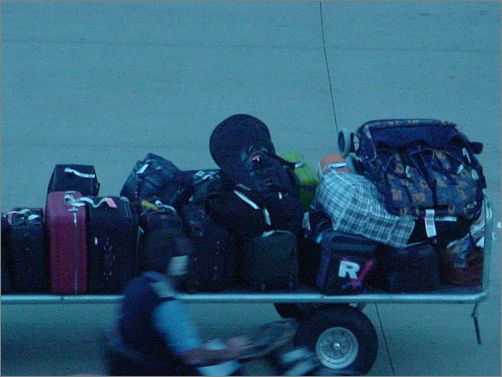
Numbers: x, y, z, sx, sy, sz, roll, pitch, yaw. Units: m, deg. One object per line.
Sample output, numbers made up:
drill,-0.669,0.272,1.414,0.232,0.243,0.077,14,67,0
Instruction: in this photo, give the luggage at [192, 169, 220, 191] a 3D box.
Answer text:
luggage,-0.405,-0.071,7.605,0.231,0.069,0.216,3,33,19

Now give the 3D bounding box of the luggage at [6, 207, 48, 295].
luggage,-1.833,0.512,6.841,0.346,0.638,0.488,2,16,-15
